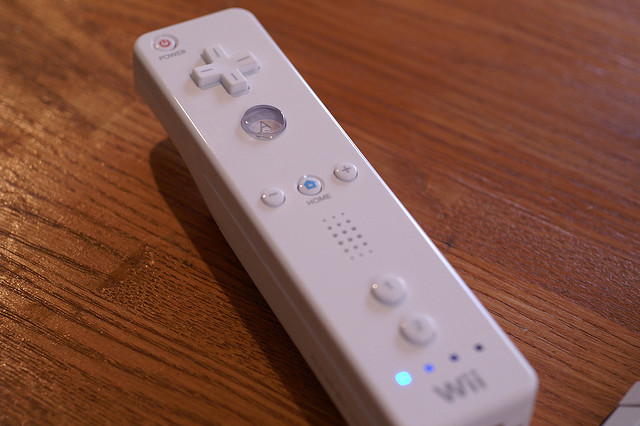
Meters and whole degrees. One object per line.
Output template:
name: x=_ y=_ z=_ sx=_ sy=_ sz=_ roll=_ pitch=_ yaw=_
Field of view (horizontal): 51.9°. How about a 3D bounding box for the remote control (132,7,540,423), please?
remote control: x=-0.016 y=-0.038 z=0.598 sx=0.147 sy=0.146 sz=0.501 roll=-25 pitch=63 yaw=-21
